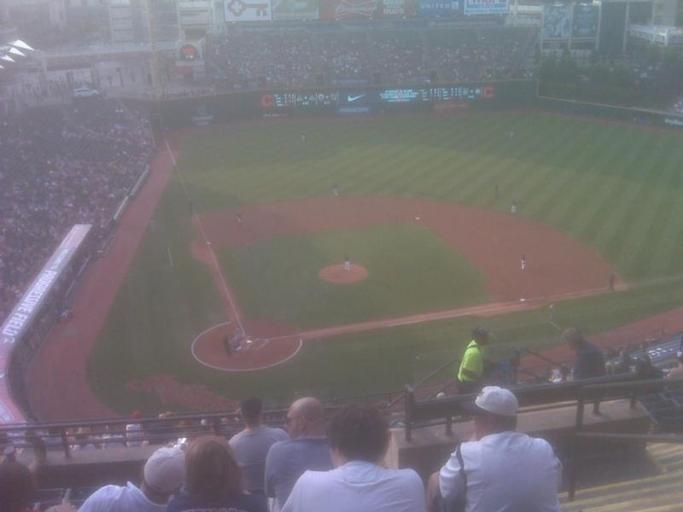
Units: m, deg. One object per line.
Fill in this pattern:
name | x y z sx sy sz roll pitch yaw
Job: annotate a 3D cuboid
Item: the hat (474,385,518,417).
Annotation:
hat | 1.171 1.108 5.077 0.277 0.111 0.208 18 21 36
